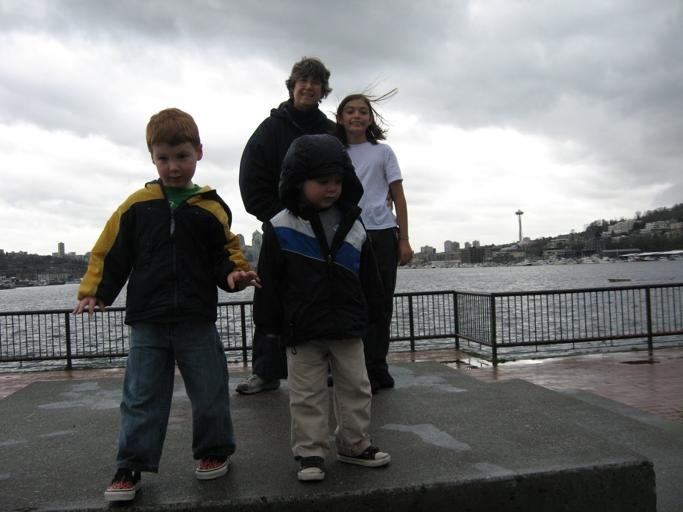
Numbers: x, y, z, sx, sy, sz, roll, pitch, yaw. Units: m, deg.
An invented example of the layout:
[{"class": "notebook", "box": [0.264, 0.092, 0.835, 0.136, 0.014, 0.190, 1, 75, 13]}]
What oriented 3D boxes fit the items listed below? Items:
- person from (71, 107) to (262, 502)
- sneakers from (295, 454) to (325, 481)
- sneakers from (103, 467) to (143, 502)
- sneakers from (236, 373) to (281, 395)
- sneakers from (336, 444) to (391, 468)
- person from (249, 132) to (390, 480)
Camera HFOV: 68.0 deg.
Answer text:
[{"class": "person", "box": [-1.052, 0.213, 3.069, 0.958, 2.340, 0.434, 2, -1, -26]}, {"class": "sneakers", "box": [-0.174, 1.251, 3.006, 0.165, 0.127, 0.172, 2, -1, -2]}, {"class": "sneakers", "box": [-1.209, 1.285, 2.811, 0.102, 0.110, 0.251, 2, -21, -6]}, {"class": "sneakers", "box": [-0.761, 1.199, 4.678, 0.406, 0.168, 0.158, 6, -10, -22]}, {"class": "sneakers", "box": [0.148, 1.244, 3.171, 0.299, 0.122, 0.117, -2, -3, 14]}, {"class": "person", "box": [-0.116, 0.271, 3.188, 0.811, 1.881, 0.496, 2, -1, -15]}]
